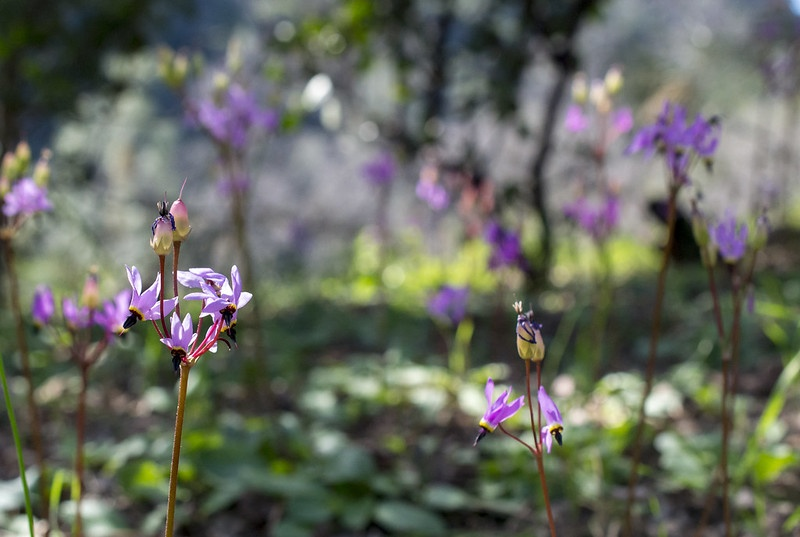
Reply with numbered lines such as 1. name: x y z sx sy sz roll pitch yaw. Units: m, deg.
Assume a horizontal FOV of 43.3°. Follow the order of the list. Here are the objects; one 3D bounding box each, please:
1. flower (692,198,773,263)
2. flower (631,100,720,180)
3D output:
1. flower: 1.109 -0.092 3.430 0.230 0.266 0.220 0 -2 -15
2. flower: 0.941 -0.430 3.515 0.269 0.241 0.254 -46 4 6
